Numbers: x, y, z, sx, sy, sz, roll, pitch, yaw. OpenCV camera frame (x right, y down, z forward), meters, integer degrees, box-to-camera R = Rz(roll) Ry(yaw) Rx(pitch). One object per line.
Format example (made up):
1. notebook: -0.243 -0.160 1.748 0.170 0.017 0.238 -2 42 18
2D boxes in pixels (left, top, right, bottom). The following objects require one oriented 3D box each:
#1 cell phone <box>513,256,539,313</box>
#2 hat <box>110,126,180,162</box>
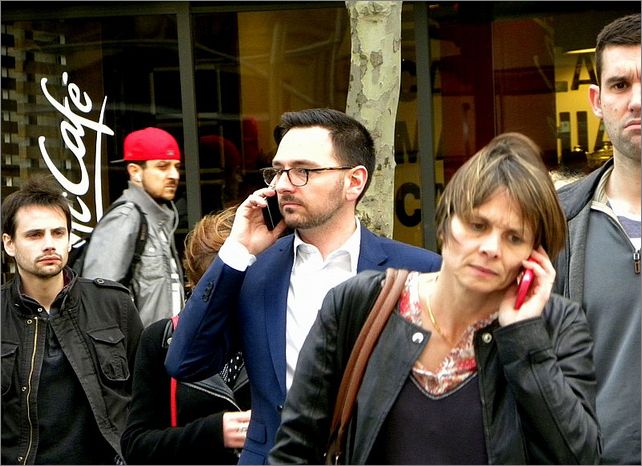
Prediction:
1. cell phone: 0.817 0.228 3.229 0.062 0.191 0.050 21 -12 -20
2. hat: -1.542 -0.783 7.000 0.444 0.216 0.301 3 4 30
